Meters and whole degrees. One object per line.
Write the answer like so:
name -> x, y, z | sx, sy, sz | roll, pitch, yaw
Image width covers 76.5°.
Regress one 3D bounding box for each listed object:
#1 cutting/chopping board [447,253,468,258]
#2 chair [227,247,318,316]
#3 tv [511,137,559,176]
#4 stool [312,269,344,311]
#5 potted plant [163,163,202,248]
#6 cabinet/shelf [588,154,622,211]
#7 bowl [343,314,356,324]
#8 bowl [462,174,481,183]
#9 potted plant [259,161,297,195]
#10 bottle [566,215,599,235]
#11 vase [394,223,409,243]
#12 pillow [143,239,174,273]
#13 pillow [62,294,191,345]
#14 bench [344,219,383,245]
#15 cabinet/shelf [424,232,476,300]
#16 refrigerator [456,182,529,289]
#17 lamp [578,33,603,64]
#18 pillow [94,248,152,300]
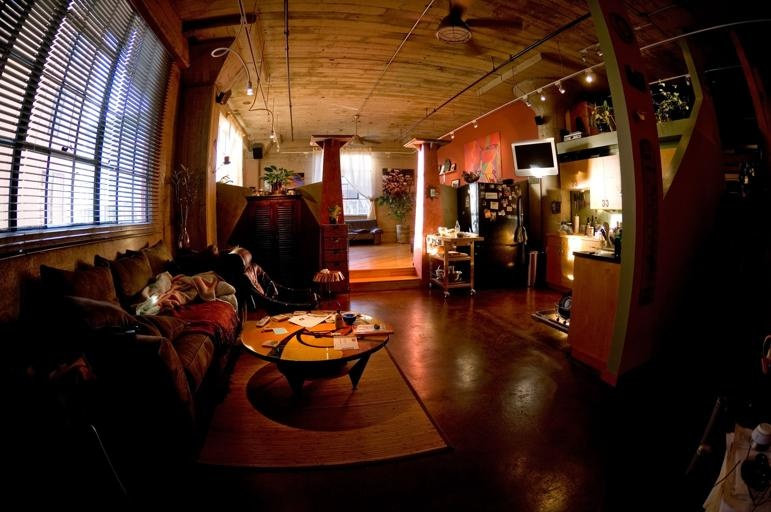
cutting/chopping board -> 1.263, -0.018, 8.401 | 0.360, 0.094, 0.128 | -4, 7, -13
chair -> -1.521, 0.409, 6.886 | 1.282, 0.811, 0.859 | 7, 9, -13
tv -> 2.747, -1.790, 8.883 | 0.882, 0.762, 0.299 | 2, 14, 42
stool -> -0.700, 0.428, 5.981 | 0.363, 0.426, 0.376 | -10, -8, 18
potted plant -> -2.918, -0.731, 7.110 | 0.247, 1.183, 0.467 | 3, 9, 38
cabinet/shelf -> 3.575, -1.180, 8.098 | 0.549, 0.780, 0.274 | -5, 3, -2
bowl -> -0.390, 0.691, 5.384 | 0.104, 0.071, 0.105 | -1, 0, 0
bowl -> 1.643, -1.472, 9.312 | 0.234, 0.144, 0.211 | 4, 7, 38
potted plant -> -1.918, -1.361, 8.785 | 0.457, 0.491, 1.131 | -4, 8, -13
bottle -> 3.483, -0.549, 8.626 | 0.428, 0.304, 0.670 | -7, 9, -34
vase -> 0.580, -0.651, 14.497 | 0.394, 0.522, 0.445 | -3, 7, -11
pillow -> -2.885, 0.008, 6.238 | 0.144, 0.362, 0.364 | -18, -6, 13
pillow -> -2.340, 0.605, 4.433 | 0.933, 0.550, 0.624 | -7, 9, -34
bench -> -0.588, -0.710, 14.479 | 0.962, 0.708, 1.047 | -2, 7, -2
cabinet/shelf -> 1.235, 0.122, 8.729 | 0.682, 0.928, 1.030 | 0, 3, -8
refrigerator -> 1.922, -0.226, 9.347 | 1.293, 2.027, 1.351 | -9, -9, 42
lamp -> 3.284, -3.201, 7.825 | 0.360, 0.300, 0.994 | 1, 8, 22
pillow -> -2.882, 0.216, 5.356 | 0.171, 0.402, 0.495 | -10, 8, 1
